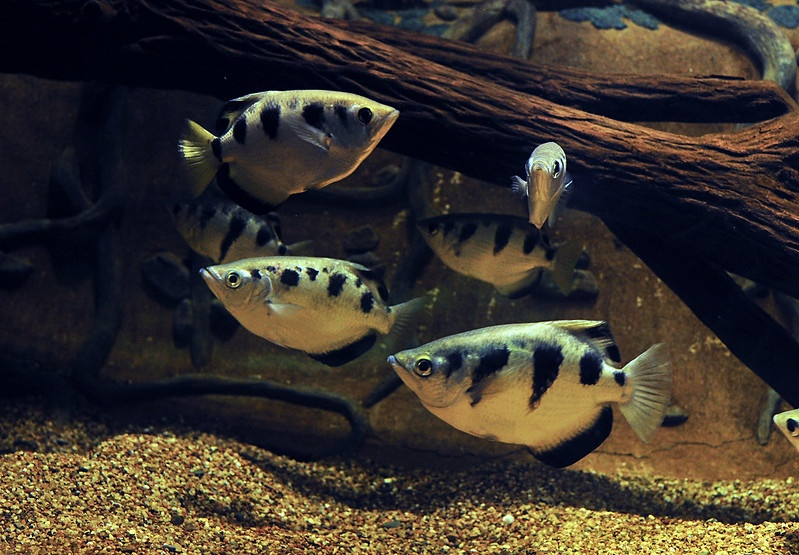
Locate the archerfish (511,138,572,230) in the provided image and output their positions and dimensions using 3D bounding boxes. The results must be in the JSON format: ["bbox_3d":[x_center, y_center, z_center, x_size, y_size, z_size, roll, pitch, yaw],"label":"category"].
[{"bbox_3d":[1.070,-0.664,8.491,0.295,0.781,0.424,2,62,7],"label":"archerfish"}]
